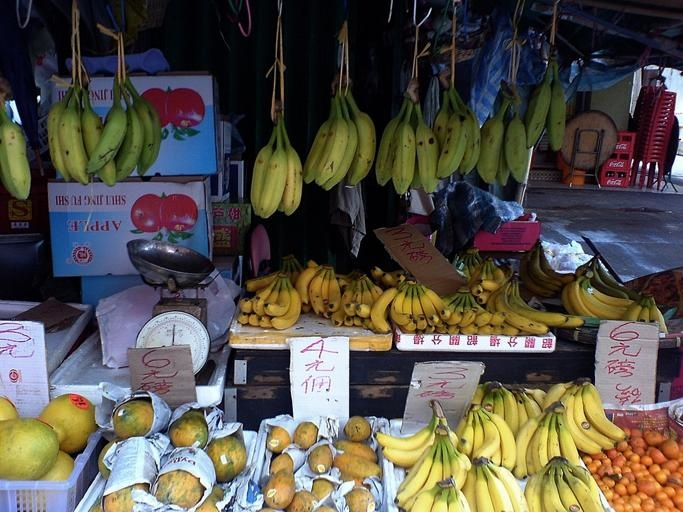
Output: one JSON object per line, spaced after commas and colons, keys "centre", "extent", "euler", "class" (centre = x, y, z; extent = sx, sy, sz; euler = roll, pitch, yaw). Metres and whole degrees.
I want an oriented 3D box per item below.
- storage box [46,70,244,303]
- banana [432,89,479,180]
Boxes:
{"centre": [-1.298, -0.366, 3.792], "extent": [1.008, 1.603, 1.511], "euler": [-1, 9, -2], "class": "storage box"}
{"centre": [0.544, -0.571, 2.626], "extent": [0.199, 0.452, 0.139], "euler": [11, -5, -7], "class": "banana"}
